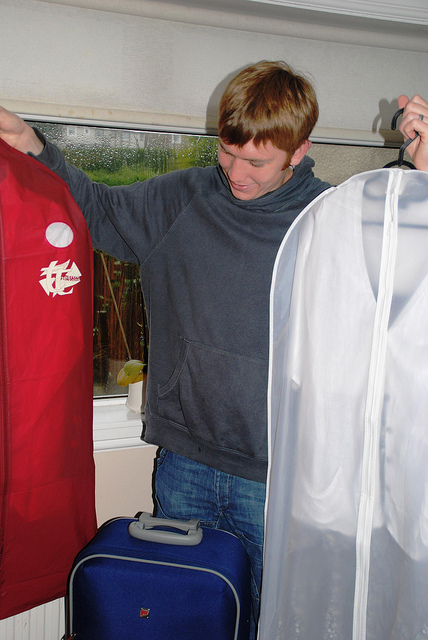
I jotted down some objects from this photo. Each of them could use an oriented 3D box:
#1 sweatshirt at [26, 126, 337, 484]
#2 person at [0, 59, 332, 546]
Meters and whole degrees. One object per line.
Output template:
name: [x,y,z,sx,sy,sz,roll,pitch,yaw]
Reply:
sweatshirt: [0.046,-0.013,1.153,0.890,0.633,0.222,10,14,17]
person: [-0.042,0.014,1.111,0.514,0.952,0.267,0,17,9]
